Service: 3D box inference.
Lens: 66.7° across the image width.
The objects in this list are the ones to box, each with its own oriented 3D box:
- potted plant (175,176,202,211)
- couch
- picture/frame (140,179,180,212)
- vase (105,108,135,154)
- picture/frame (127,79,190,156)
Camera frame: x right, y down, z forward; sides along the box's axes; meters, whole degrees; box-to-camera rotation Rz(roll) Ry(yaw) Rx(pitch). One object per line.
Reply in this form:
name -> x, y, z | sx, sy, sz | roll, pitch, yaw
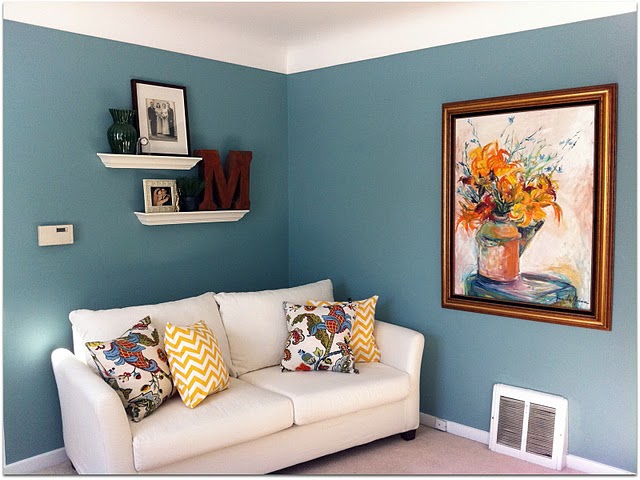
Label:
potted plant -> -0.993, -0.350, 3.721 | 0.223, 0.261, 0.244 | -1, -1, 36
couch -> -0.392, 1.067, 3.097 | 2.203, 0.819, 0.635 | -6, 5, -24
picture/frame -> -1.186, -0.335, 3.577 | 0.025, 0.245, 0.257 | -3, -1, 42
vase -> -1.381, -0.765, 3.392 | 0.198, 0.292, 0.187 | 3, 17, 2
picture/frame -> -1.206, -0.916, 3.576 | 0.595, 0.731, 0.048 | -8, 8, -43
